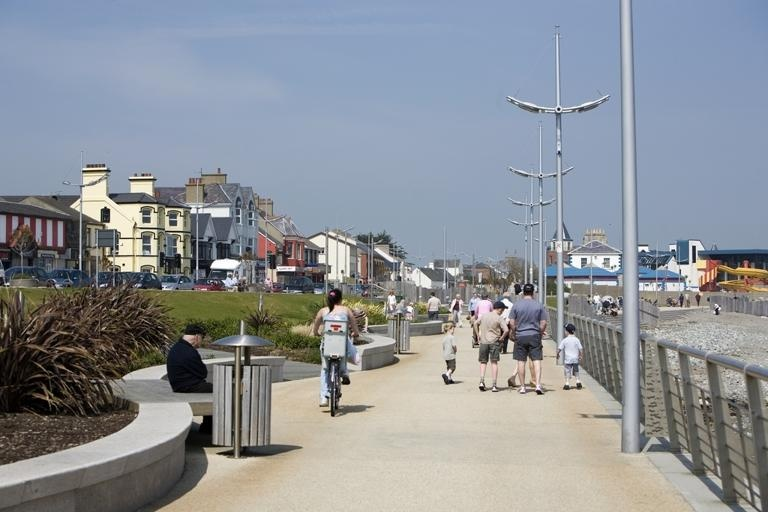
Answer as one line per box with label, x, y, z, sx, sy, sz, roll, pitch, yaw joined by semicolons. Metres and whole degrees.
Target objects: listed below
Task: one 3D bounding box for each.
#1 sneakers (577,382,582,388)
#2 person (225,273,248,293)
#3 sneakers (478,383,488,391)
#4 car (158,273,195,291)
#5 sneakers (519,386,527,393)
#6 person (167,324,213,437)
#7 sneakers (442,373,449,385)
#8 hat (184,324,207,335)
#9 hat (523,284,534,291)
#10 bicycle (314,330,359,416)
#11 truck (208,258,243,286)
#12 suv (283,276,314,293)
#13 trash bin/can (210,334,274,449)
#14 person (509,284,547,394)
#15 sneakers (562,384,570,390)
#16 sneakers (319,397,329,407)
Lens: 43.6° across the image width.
sneakers;4.102;2.731;20.232;0.126;0.130;0.099;2;7;8
person;-10.973;1.870;68.574;1.297;1.091;1.849;-2;-8;39
sneakers;2.024;2.710;19.862;0.130;0.160;0.398;1;4;6
car;-13.648;1.689;62.976;2.045;0.868;3.962;1;-1;-13
sneakers;2.790;2.710;19.405;0.083;0.108;0.255;-1;-9;2
person;-2.912;1.517;14.330;0.681;1.212;0.454;1;-1;-8
sneakers;1.319;2.680;20.885;0.073;0.216;0.088;-9;11;15
hat;-2.851;1.100;14.473;0.219;0.170;0.247;1;-6;-1
hat;2.864;0.622;19.130;0.186;0.145;0.314;1;2;6
bicycle;-0.821;1.910;16.633;0.575;1.226;1.268;1;-1;-3
truck;-11.737;1.083;70.176;1.481;1.883;3.180;1;-5;1
suv;-6.714;2.304;76.988;1.237;0.952;1.908;-1;-7;13
trash bin/can;-1.953;1.907;13.104;0.776;1.387;0.756;1;-1;-11
person;2.887;1.660;19.479;0.731;1.454;0.883;1;-1;8
sneakers;3.797;2.745;20.109;0.139;0.144;0.089;-1;3;7
sneakers;-1.048;2.535;16.752;0.091;0.123;0.280;1;3;2
